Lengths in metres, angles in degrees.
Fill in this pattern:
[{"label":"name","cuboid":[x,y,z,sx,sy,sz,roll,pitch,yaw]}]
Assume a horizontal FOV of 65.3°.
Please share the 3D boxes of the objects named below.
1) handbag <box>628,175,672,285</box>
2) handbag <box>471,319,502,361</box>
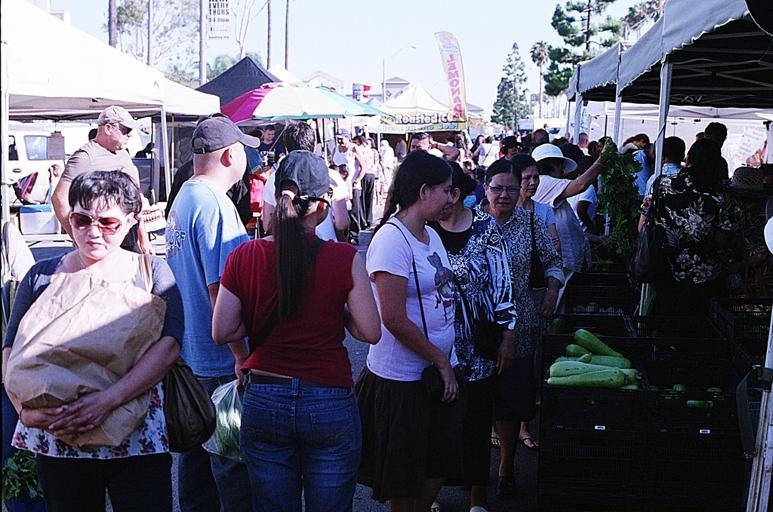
[{"label":"handbag","cuboid":[2.280,-0.210,5.462,0.343,0.928,0.404,-3,-1,-10]},{"label":"handbag","cuboid":[0.666,0.566,4.058,0.125,0.136,0.238,-11,-31,-21]}]
